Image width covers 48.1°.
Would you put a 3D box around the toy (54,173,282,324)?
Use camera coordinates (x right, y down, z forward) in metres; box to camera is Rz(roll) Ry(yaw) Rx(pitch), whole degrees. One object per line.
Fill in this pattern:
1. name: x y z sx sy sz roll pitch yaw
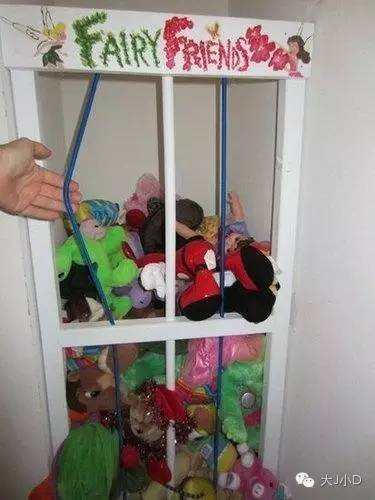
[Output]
1. toy: -0.043 0.019 1.042 0.483 0.184 0.371 1 53 -5
